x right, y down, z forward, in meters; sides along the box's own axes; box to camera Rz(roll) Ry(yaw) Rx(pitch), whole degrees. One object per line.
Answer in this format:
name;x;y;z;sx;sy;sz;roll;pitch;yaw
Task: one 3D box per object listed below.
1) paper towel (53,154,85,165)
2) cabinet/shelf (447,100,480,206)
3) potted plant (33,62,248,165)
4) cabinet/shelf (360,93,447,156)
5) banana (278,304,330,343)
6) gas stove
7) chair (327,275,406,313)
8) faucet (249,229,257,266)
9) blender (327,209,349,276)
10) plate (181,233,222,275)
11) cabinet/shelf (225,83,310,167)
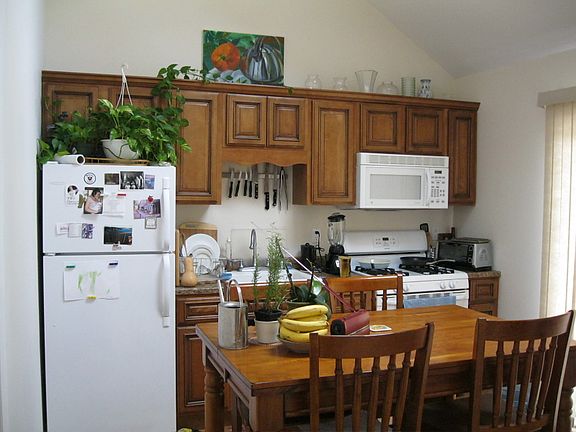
paper towel;-1.388;-0.361;3.056;0.152;0.074;0.081;0;2;17
cabinet/shelf;1.648;-0.567;4.494;0.268;0.855;0.127;5;16;28
potted plant;-1.015;-0.701;3.550;1.215;0.697;0.369;7;29;9
cabinet/shelf;0.999;-0.771;4.359;0.911;0.446;0.254;-1;2;-20
banana;0.059;0.490;2.284;0.241;0.135;0.179;-6;-13;-38
gas stove;1.083;0.498;4.216;0.521;0.178;0.463;-1;2;-18
chair;0.517;0.526;3.195;0.437;0.290;0.214;-1;-2;-23
faucet;-0.304;0.278;4.161;0.072;0.327;0.135;-1;2;-5
blender;0.415;0.239;4.164;0.165;0.505;0.348;-1;2;5
plate;-0.698;0.311;3.905;0.271;0.327;0.146;-2;2;-11
cabinet/shelf;-0.244;-0.743;4.044;0.788;0.563;0.398;-2;6;-22
